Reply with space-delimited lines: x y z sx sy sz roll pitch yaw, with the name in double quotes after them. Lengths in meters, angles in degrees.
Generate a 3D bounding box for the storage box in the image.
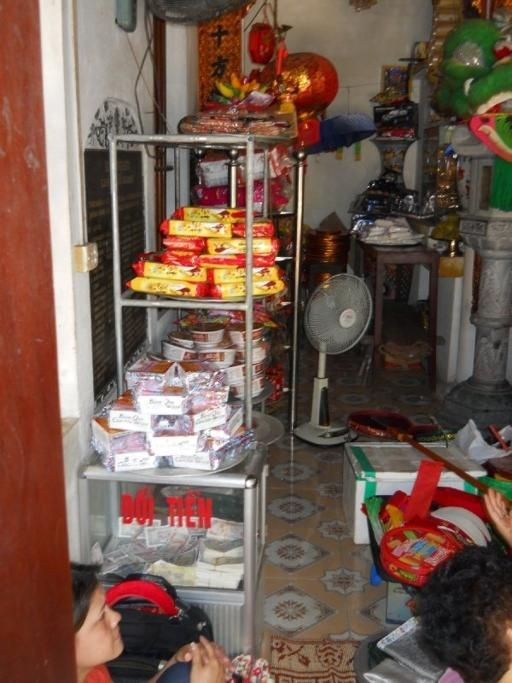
0.675 0.652 2.784 0.576 0.332 0.546 0 11 0 "storage box"

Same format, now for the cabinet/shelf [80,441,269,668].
-0.180 0.617 2.350 0.716 1.181 0.702 2 9 7 "cabinet/shelf"
